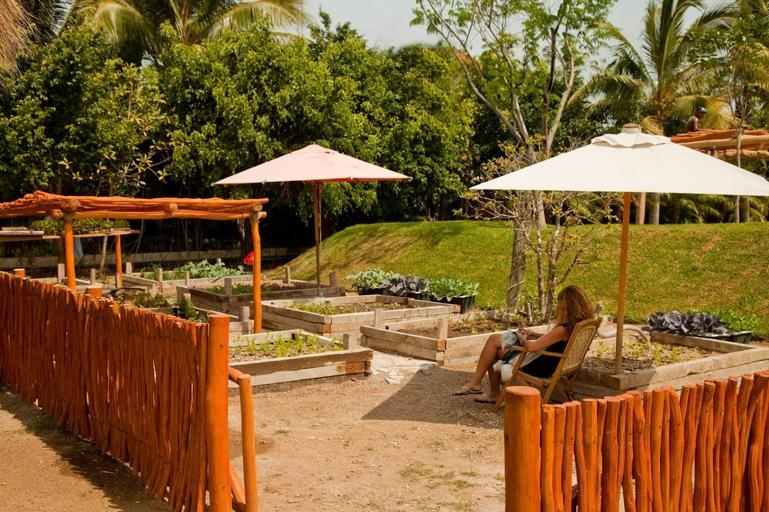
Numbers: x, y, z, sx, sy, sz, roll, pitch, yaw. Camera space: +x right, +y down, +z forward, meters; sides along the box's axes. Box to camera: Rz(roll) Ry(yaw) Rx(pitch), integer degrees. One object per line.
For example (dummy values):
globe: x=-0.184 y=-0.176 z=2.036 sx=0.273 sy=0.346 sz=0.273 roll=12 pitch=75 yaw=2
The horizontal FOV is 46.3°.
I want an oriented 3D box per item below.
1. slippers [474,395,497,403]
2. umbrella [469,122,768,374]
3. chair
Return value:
slippers: x=1.791 y=2.564 z=16.184 sx=0.283 sy=0.127 sz=0.154 roll=4 pitch=0 yaw=7
umbrella: x=4.337 y=-0.233 z=16.586 sx=3.804 sy=3.761 sz=3.965 roll=0 pitch=2 yaw=2
chair: x=2.832 y=1.852 z=15.978 sx=1.605 sy=1.907 sz=1.869 roll=5 pitch=5 yaw=-27
